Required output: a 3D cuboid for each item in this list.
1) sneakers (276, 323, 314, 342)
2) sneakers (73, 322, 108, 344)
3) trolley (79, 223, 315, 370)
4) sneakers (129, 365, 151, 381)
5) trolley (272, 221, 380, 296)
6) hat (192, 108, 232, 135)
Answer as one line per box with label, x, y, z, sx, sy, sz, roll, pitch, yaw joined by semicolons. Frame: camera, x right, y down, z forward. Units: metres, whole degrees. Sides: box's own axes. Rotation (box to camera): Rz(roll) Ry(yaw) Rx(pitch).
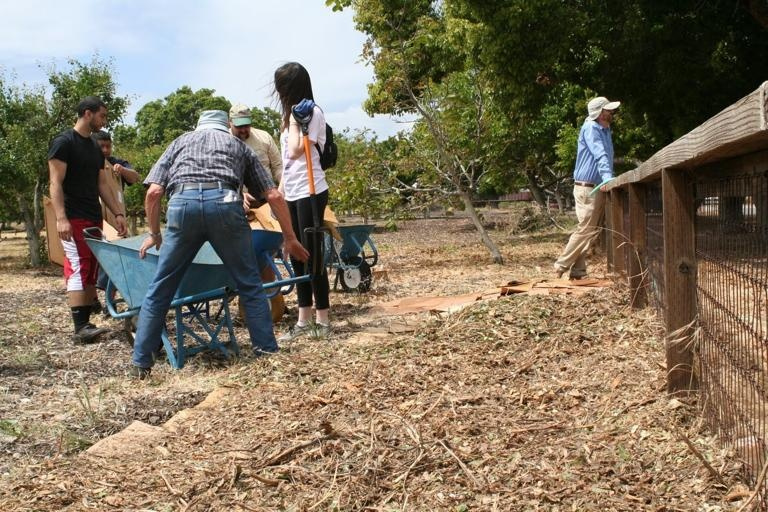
sneakers;-0.926;0.754;6.354;0.425;0.158;0.150;-13;-5;-24
sneakers;-3.147;0.847;6.943;0.355;0.171;0.174;-11;11;16
trolley;-1.893;0.458;6.190;2.144;1.136;1.199;13;9;34
sneakers;-2.143;1.009;5.654;0.092;0.181;0.184;3;-12;11
trolley;-0.922;0.026;9.641;1.944;1.023;0.707;5;8;44
hat;-1.600;-1.279;6.121;0.248;0.144;0.276;0;-4;-3
